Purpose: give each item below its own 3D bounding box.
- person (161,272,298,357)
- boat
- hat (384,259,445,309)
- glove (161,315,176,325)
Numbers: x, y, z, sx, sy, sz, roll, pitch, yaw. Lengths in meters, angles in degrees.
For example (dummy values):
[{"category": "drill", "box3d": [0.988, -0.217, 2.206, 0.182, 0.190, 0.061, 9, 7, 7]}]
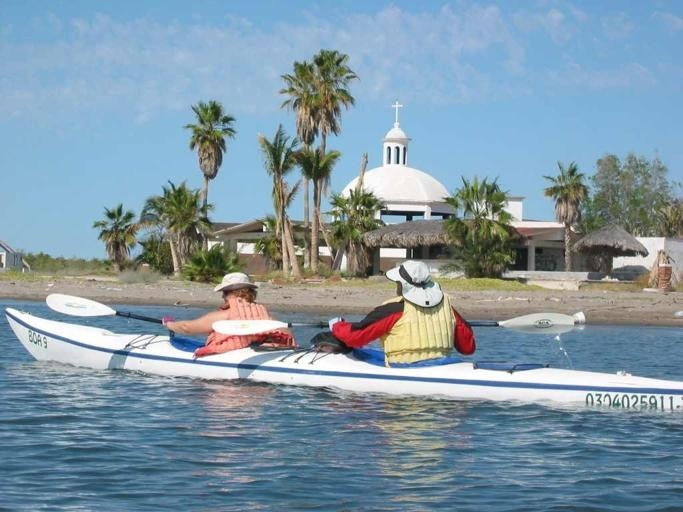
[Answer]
[{"category": "person", "box3d": [-1.794, 0.921, 22.429, 1.988, 0.884, 1.115, 7, 7, 29]}, {"category": "boat", "box3d": [-0.046, 1.725, 22.732, 9.451, 1.092, 1.620, 0, -1, 29]}, {"category": "hat", "box3d": [1.033, 0.329, 21.252, 0.636, 0.322, 0.781, 1, 30, -35]}, {"category": "glove", "box3d": [-2.689, 1.007, 22.483, 0.151, 0.084, 0.203, 4, 4, 4]}]
